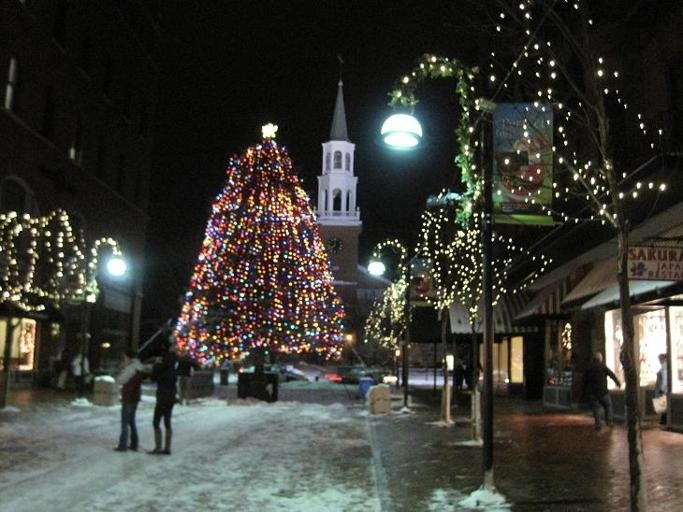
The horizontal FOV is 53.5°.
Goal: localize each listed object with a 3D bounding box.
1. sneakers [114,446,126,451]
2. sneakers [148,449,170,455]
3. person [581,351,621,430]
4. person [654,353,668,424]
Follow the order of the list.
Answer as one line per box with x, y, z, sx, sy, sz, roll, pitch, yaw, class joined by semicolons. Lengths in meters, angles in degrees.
-4.695;4.112;14.429;0.259;0.119;0.100;6;-3;8;sneakers
-3.841;4.134;14.292;0.529;0.083;0.199;-3;-15;13;sneakers
7.059;3.663;18.565;0.875;2.040;0.557;5;-13;-21;person
8.969;3.696;18.969;0.363;1.971;1.568;-5;-14;23;person
